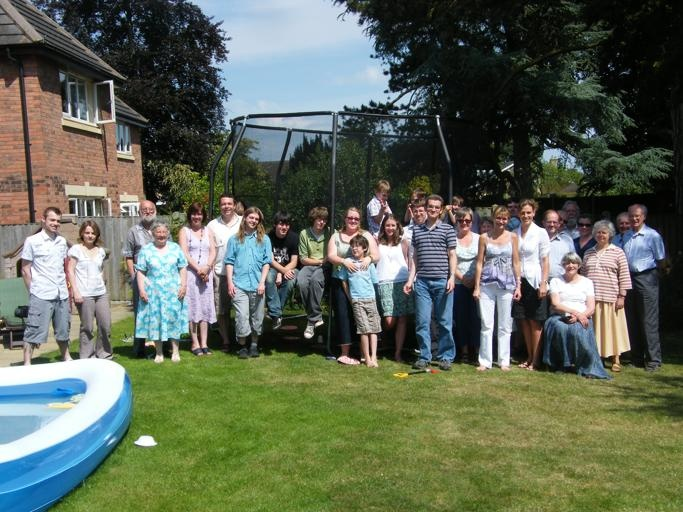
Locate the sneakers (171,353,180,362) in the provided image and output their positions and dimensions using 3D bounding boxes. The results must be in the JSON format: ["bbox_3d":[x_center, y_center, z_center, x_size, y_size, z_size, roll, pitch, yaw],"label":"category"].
[{"bbox_3d":[-2.327,1.398,9.130,0.130,0.112,0.225,-2,10,-17],"label":"sneakers"}]

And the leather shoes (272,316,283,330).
[{"bbox_3d":[-0.967,0.996,9.704,0.140,0.251,0.247,-1,9,-7],"label":"leather shoes"}]

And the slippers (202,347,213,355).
[{"bbox_3d":[-1.994,1.393,9.614,0.096,0.078,0.253,0,-1,-25],"label":"slippers"}]

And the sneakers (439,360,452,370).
[{"bbox_3d":[1.451,1.491,9.042,0.168,0.104,0.208,2,10,8],"label":"sneakers"}]

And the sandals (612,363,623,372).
[{"bbox_3d":[3.877,1.567,9.162,0.077,0.063,0.211,-1,-4,8],"label":"sandals"}]

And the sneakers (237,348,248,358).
[{"bbox_3d":[-1.445,1.401,9.484,0.105,0.128,0.306,0,-4,-8],"label":"sneakers"}]

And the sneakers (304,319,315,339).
[{"bbox_3d":[-0.462,1.046,9.515,0.144,0.295,0.422,0,10,-2],"label":"sneakers"}]

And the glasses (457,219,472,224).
[{"bbox_3d":[1.734,-0.495,9.172,0.186,0.072,0.106,2,10,10],"label":"glasses"}]

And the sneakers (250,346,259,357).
[{"bbox_3d":[-1.289,1.367,9.588,0.146,0.194,0.304,-1,10,-7],"label":"sneakers"}]

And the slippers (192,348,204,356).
[{"bbox_3d":[-2.104,1.391,9.540,0.089,0.066,0.231,-1,-2,-20],"label":"slippers"}]

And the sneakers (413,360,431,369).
[{"bbox_3d":[1.124,1.500,9.060,0.093,0.123,0.260,-4,-9,42],"label":"sneakers"}]
